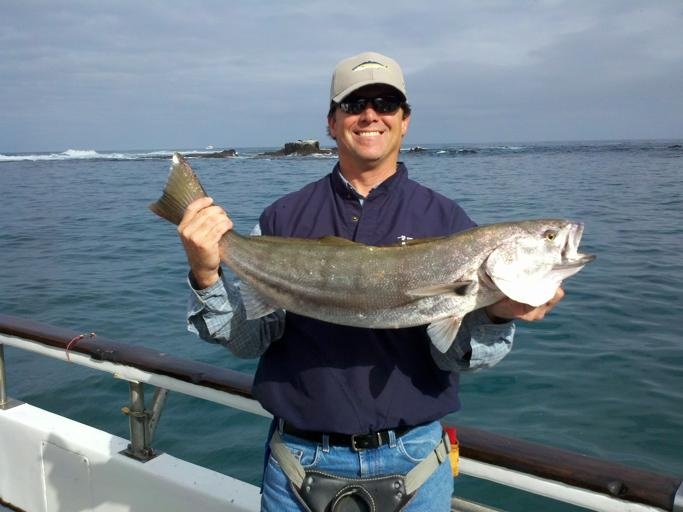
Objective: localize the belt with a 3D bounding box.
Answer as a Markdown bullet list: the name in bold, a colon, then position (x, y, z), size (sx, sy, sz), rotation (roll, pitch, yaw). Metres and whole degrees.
- **belt**: position (0.030, 1.119, 3.650), size (0.867, 0.134, 0.145), rotation (0, 9, 6)

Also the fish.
- **fish**: position (0.381, 0.187, 3.653), size (2.227, 0.822, 0.382), rotation (1, 11, 11)
